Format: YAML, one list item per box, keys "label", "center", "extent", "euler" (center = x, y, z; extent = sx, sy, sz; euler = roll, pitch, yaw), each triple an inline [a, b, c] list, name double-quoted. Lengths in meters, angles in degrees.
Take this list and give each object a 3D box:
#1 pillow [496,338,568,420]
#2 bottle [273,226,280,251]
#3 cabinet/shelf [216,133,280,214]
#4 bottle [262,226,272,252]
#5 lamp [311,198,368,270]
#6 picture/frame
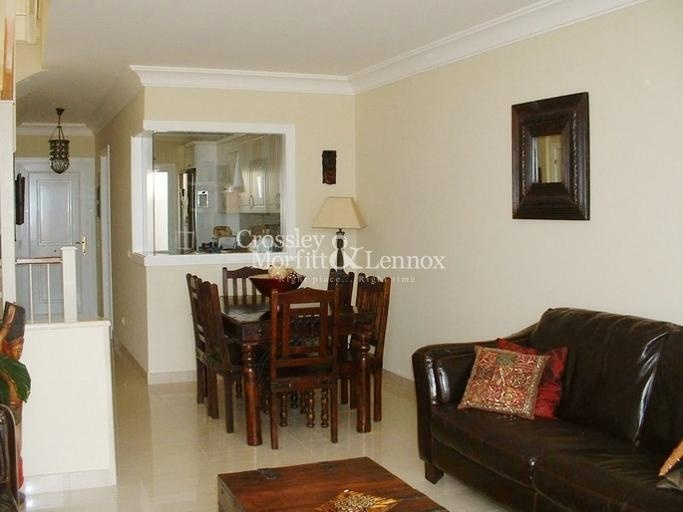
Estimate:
- label: "pillow"
  center: [1.212, 0.765, 3.526]
  extent: [0.118, 0.385, 0.368]
  euler: [29, -17, -37]
- label: "bottle"
  center: [-0.719, -0.191, 6.289]
  extent: [0.107, 0.286, 0.042]
  euler: [-2, 7, -13]
- label: "cabinet/shelf"
  center: [-1.079, -0.886, 6.369]
  extent: [0.502, 0.922, 0.781]
  euler: [11, 23, 25]
- label: "bottle"
  center: [-0.811, -0.193, 6.239]
  extent: [0.098, 0.279, 0.021]
  euler: [-5, 8, -38]
- label: "lamp"
  center: [-0.018, -0.188, 6.133]
  extent: [0.626, 0.760, 0.647]
  euler: [3, -5, -24]
- label: "picture/frame"
  center: [1.519, -0.711, 4.169]
  extent: [0.096, 0.869, 0.689]
  euler: [-4, 7, -30]
